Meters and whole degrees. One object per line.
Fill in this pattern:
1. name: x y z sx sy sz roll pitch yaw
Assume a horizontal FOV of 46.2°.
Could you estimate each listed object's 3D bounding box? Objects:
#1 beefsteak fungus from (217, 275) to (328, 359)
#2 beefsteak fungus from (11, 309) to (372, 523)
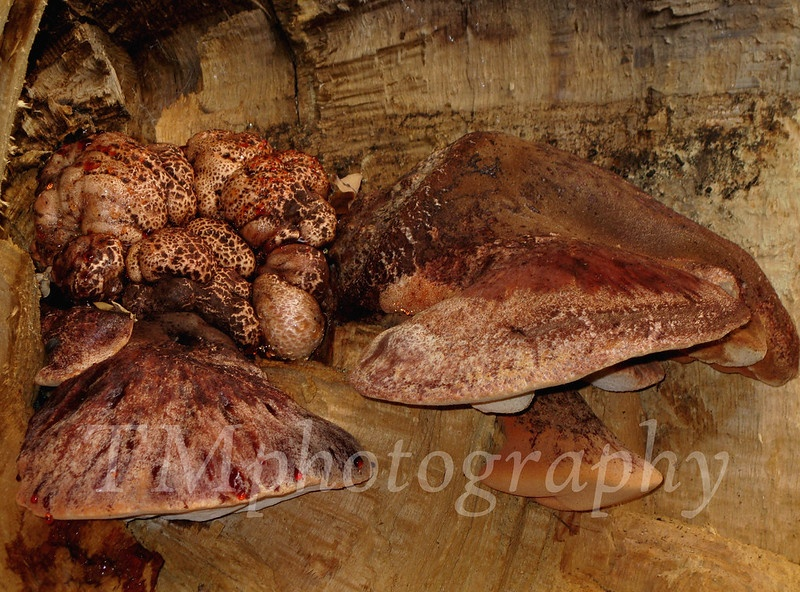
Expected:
1. beefsteak fungus: -0.625 0.095 5.002 0.327 0.462 0.327 -32 13 -7
2. beefsteak fungus: -0.986 0.663 4.251 0.929 0.317 1.112 -6 24 -28
